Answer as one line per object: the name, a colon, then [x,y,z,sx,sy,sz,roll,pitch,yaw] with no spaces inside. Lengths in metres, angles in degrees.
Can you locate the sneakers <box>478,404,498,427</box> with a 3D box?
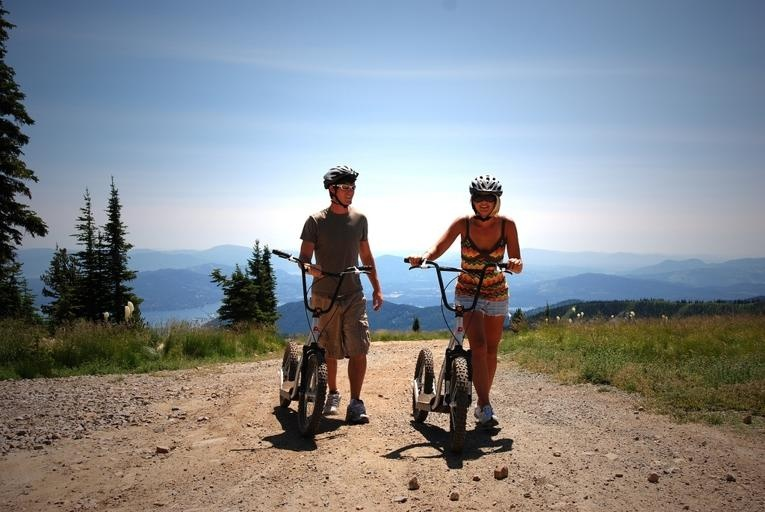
sneakers: [1.999,3.113,11.796,0.213,0.263,0.568,1,-13,-13]
